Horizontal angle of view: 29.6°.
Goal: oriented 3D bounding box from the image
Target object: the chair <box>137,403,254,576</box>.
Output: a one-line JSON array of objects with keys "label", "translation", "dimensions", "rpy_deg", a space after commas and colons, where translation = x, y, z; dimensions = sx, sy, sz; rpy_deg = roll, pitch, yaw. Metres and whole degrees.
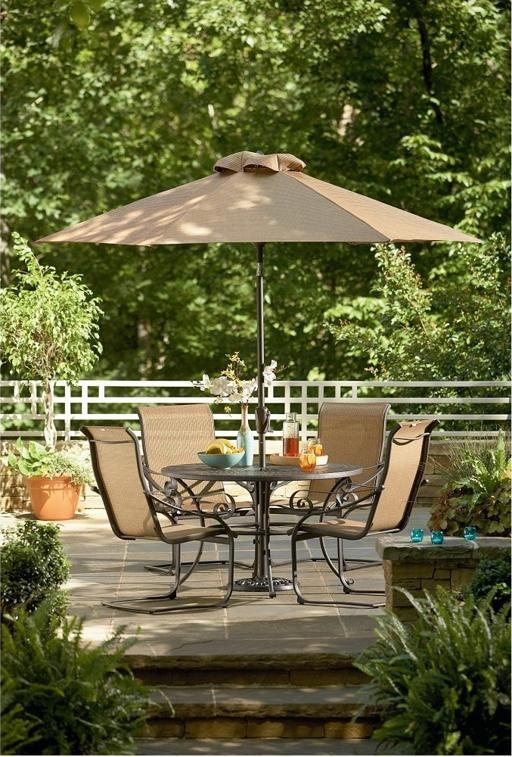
[{"label": "chair", "translation": [-0.313, 0.813, 5.356], "dimensions": [0.543, 0.626, 0.392], "rpy_deg": [14, 15, 7]}]

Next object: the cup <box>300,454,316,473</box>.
[{"label": "cup", "translation": [0.254, 0.399, 4.646], "dimensions": [0.084, 0.089, 0.081], "rpy_deg": [-2, -3, 0]}]

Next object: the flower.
[{"label": "flower", "translation": [-0.120, 0.059, 5.169], "dimensions": [0.325, 0.236, 0.344], "rpy_deg": [-1, 13, 38]}]

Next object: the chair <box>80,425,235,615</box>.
[{"label": "chair", "translation": [-0.464, 0.653, 4.615], "dimensions": [0.702, 0.892, 0.635], "rpy_deg": [-2, 9, -11]}]

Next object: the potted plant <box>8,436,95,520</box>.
[{"label": "potted plant", "translation": [-1.641, 0.783, 7.449], "dimensions": [0.681, 0.470, 0.659], "rpy_deg": [5, -11, -27]}]

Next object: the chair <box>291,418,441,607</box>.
[{"label": "chair", "translation": [0.544, 0.655, 4.792], "dimensions": [0.670, 0.955, 0.959], "rpy_deg": [2, 9, 14]}]

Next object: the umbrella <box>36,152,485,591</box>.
[{"label": "umbrella", "translation": [0.001, -0.280, 5.486], "dimensions": [2.395, 1.824, 2.116], "rpy_deg": [-6, 12, -31]}]
